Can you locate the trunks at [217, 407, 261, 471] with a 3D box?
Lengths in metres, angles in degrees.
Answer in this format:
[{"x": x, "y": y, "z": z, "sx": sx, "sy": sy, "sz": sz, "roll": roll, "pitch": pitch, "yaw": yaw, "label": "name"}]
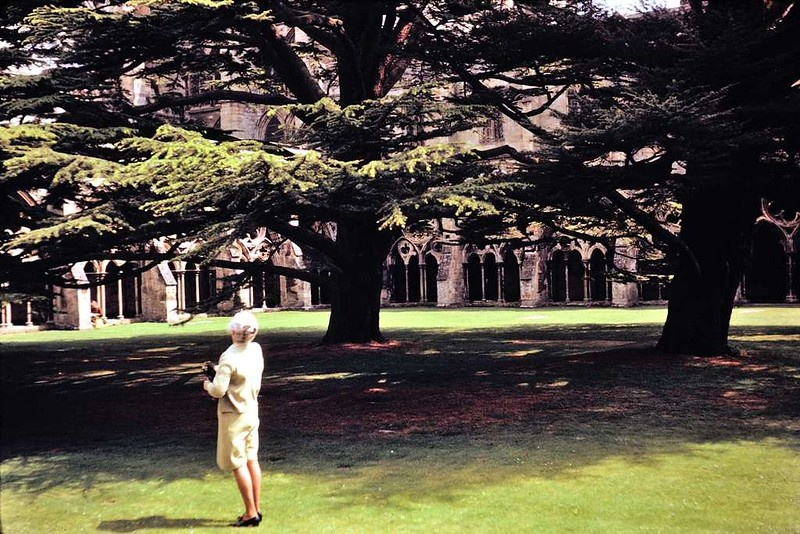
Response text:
[{"x": -2.240, "y": 2.347, "z": 12.652, "sx": 0.607, "sy": 0.778, "sz": 0.354, "roll": -6, "pitch": 12, "yaw": -10, "label": "trunks"}]
